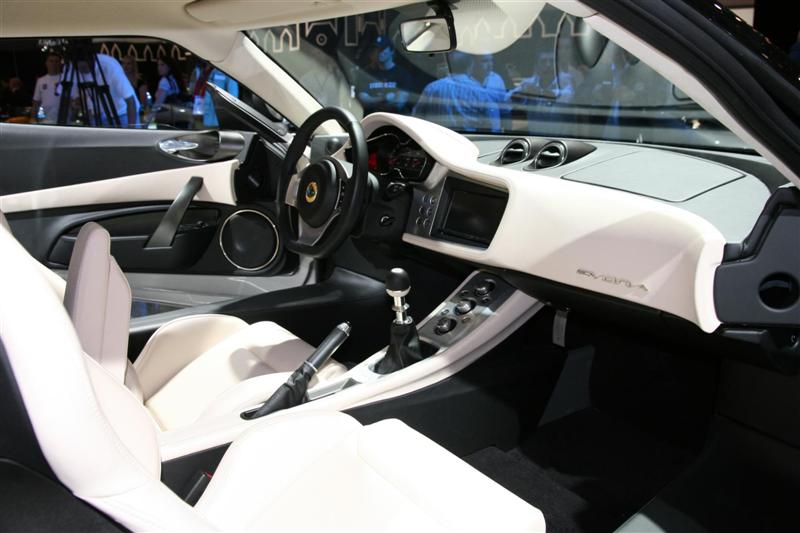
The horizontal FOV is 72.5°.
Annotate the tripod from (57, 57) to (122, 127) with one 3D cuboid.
[{"bbox_3d":[-1.458,-0.814,2.524,0.181,0.393,0.156,-11,45,-17],"label":"tripod"}]
